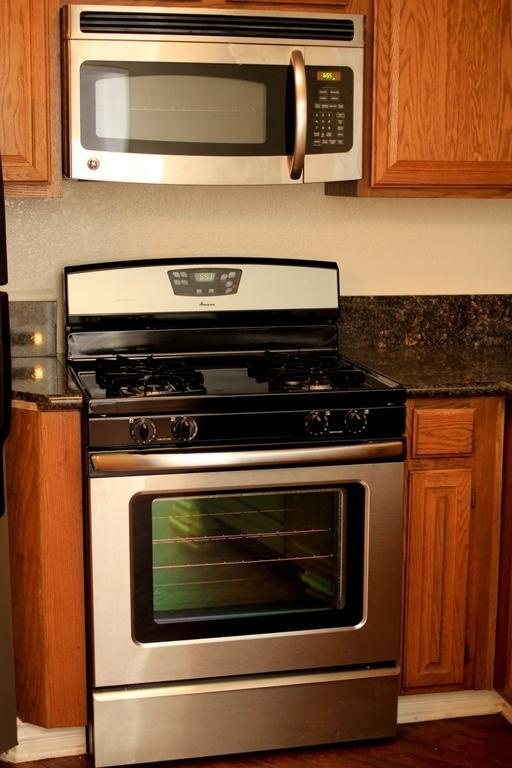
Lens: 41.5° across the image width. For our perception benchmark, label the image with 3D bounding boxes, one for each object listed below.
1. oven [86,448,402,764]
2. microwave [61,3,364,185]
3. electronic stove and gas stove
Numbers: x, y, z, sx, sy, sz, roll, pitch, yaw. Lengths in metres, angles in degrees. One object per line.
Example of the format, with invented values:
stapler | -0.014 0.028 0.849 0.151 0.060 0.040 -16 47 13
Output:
oven | 0.047 0.405 1.812 0.941 0.963 0.644 -1 4 -13
microwave | -0.121 -0.655 1.540 0.632 0.377 0.412 -2 8 -10
electronic stove and gas stove | -0.057 0.027 1.613 0.721 0.181 0.459 -2 6 -16
